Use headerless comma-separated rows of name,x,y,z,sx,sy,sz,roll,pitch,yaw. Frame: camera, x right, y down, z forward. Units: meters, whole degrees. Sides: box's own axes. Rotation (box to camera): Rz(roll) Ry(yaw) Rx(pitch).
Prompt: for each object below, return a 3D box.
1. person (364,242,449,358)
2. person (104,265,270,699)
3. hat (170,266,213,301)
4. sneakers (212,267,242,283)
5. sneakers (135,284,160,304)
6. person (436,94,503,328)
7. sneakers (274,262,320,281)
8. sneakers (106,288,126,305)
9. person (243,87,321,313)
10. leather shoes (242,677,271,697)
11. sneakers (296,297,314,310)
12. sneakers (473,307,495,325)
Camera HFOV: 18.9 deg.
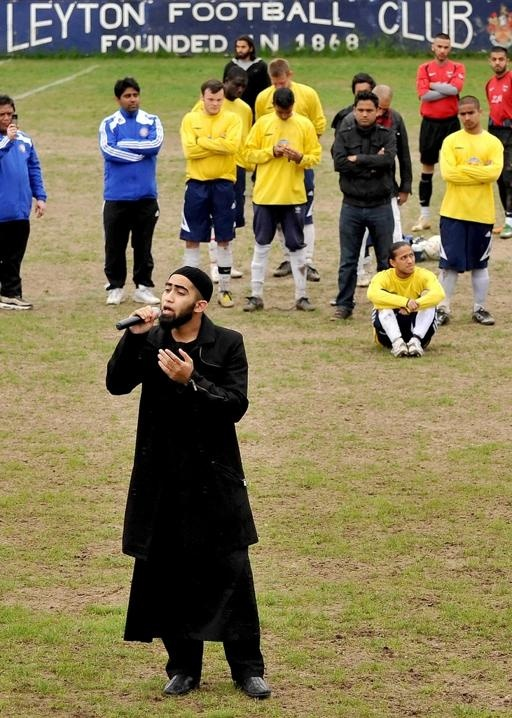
person,1.105,-0.439,11.460,0.549,0.869,0.476,3,8,3
person,-0.303,0.574,7.042,0.765,1.969,0.359,1,8,-7
hat,-0.279,-0.341,7.039,0.171,0.154,0.228,5,8,20
sneakers,-0.259,-0.753,13.782,0.121,0.131,0.325,-1,0,-22
sneakers,-0.877,-0.521,12.672,0.109,0.127,0.323,-12,10,-33
person,1.658,-1.135,12.019,0.492,1.814,0.701,3,8,9
sneakers,0.362,-0.804,14.078,0.529,0.210,0.167,1,12,10
sneakers,-1.170,-0.520,12.851,0.148,0.162,0.412,0,2,-4
person,0.181,-1.255,12.366,0.590,1.813,0.517,4,8,11
leather shoes,0.004,1.519,7.064,0.069,0.053,0.133,1,-6,-30
sneakers,0.398,-0.446,12.797,0.076,0.081,0.188,-9,9,-26
sneakers,1.827,-0.340,12.403,0.091,0.100,0.218,-6,14,-15
